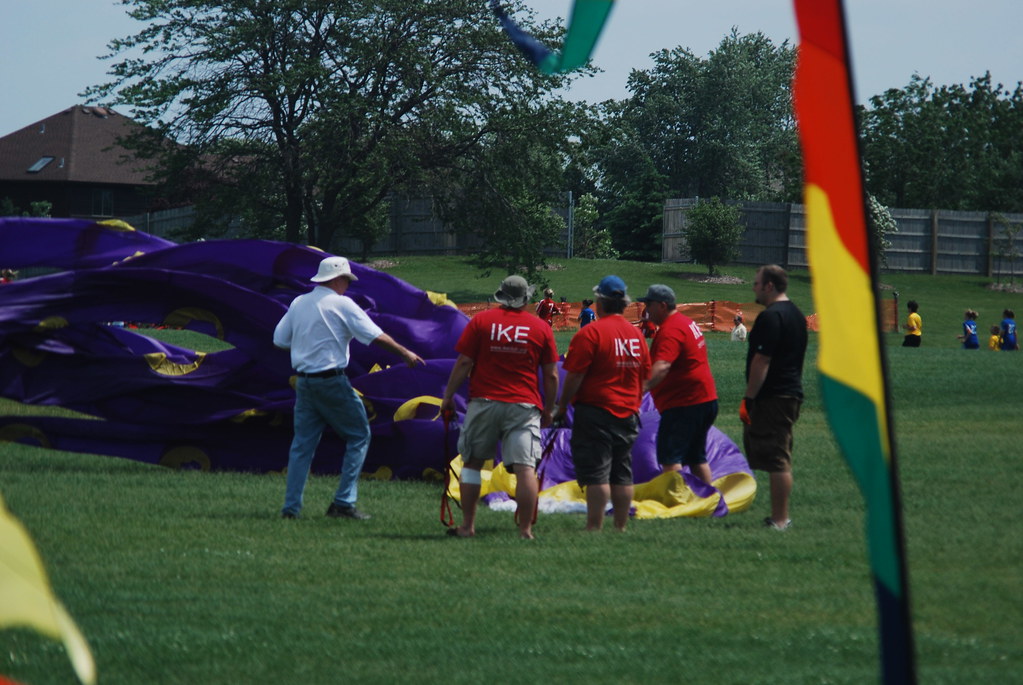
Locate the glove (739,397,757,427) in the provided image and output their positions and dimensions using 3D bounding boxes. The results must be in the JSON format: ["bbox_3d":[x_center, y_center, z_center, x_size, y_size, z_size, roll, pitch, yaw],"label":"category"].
[{"bbox_3d":[5.099,1.577,43.679,0.224,0.561,0.421,1,-10,19],"label":"glove"}]

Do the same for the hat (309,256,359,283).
[{"bbox_3d":[-3.988,-1.545,44.149,0.706,0.368,0.699,-8,-4,33],"label":"hat"}]

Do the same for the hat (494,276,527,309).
[{"bbox_3d":[0.020,-1.137,43.812,0.581,0.382,0.751,5,34,-1],"label":"hat"}]
